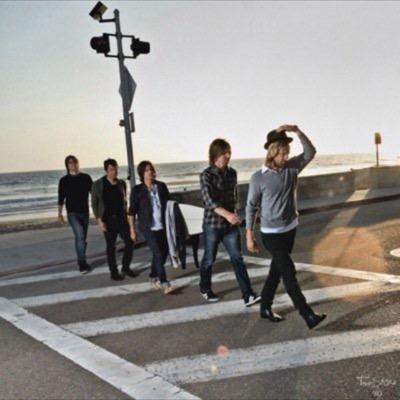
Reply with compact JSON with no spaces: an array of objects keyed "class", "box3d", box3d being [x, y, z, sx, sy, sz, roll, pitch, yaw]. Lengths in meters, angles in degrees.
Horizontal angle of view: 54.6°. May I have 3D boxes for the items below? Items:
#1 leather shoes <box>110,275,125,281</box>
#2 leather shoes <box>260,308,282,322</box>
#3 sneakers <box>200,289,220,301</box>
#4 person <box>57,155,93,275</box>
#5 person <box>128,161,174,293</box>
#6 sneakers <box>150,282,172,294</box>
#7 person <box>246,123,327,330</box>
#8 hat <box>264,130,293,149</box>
[{"class":"leather shoes","box3d":[-1.352,1.248,6.253,0.259,0.098,0.129,-2,4,16]},{"class":"leather shoes","box3d":[0.745,1.238,4.167,0.102,0.108,0.253,-5,3,-43]},{"class":"sneakers","box3d":[0.123,1.222,4.932,0.110,0.104,0.260,-8,10,-40]},{"class":"person","box3d":[-2.177,0.265,6.850,0.597,2.061,0.376,-5,4,-17]},{"class":"person","box3d":[-0.698,0.383,5.469,0.599,1.858,0.592,-4,4,-10]},{"class":"sneakers","box3d":[-0.540,1.239,5.443,0.125,0.170,0.387,-6,-5,-43]},{"class":"person","box3d":[0.827,0.282,3.913,0.733,2.038,0.633,-2,4,17]},{"class":"hat","box3d":[0.758,-0.603,3.787,0.276,0.185,0.294,-3,4,13]}]
